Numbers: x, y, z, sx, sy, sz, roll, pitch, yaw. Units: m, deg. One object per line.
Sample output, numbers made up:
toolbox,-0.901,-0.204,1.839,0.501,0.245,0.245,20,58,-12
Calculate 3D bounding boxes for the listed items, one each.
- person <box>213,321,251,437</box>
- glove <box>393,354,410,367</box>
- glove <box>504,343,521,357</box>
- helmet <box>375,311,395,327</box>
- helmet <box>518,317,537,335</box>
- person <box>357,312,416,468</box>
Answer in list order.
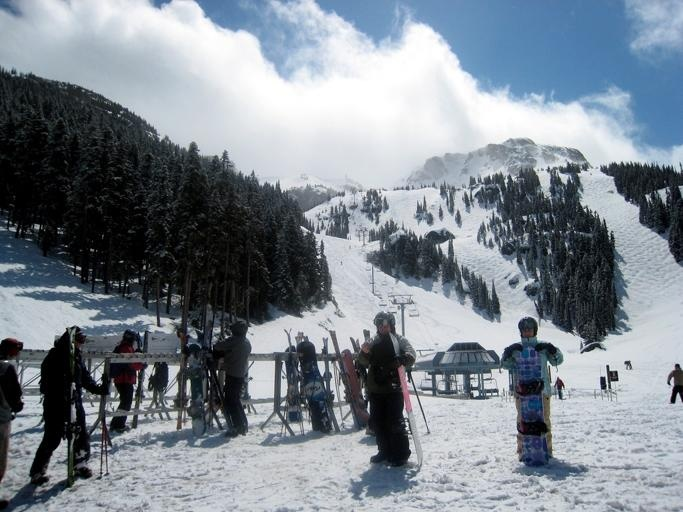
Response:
person,-3.560,4.017,18.109,0.928,3.665,0.822,-1,-2,13
glove,1.704,2.872,15.152,0.562,0.287,0.214,0,-2,-43
glove,4.641,2.570,14.995,0.472,0.177,0.391,-30,3,-28
helmet,1.208,1.766,15.774,0.478,0.405,0.376,20,-29,-13
helmet,5.175,1.909,15.260,0.421,0.579,0.553,1,-1,22
person,1.307,3.642,15.328,1.394,4.069,0.800,-1,-2,7
